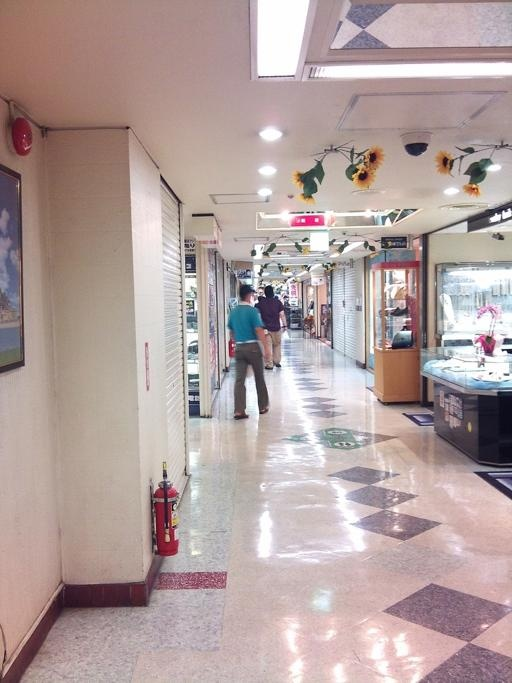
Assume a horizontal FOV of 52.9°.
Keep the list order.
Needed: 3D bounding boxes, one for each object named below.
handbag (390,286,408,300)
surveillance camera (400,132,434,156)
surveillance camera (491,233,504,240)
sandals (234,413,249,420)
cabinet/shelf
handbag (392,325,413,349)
[{"bbox_3d":[2.261,-0.756,7.989,0.195,0.199,0.049,2,-1,33],"label":"handbag"},{"bbox_3d":[0.896,-1.111,2.897,0.121,0.093,0.123,3,9,41],"label":"surveillance camera"},{"bbox_3d":[3.353,-1.451,7.101,0.121,0.122,0.078,-2,36,27],"label":"surveillance camera"},{"bbox_3d":[-0.198,1.013,7.033,0.212,0.082,0.182,-2,2,-15],"label":"sandals"},{"bbox_3d":[2.199,-0.141,8.025,0.614,2.179,0.504,-2,2,-1],"label":"cabinet/shelf"},{"bbox_3d":[2.280,-0.065,8.013,0.286,0.366,0.368,1,-4,7],"label":"handbag"}]
